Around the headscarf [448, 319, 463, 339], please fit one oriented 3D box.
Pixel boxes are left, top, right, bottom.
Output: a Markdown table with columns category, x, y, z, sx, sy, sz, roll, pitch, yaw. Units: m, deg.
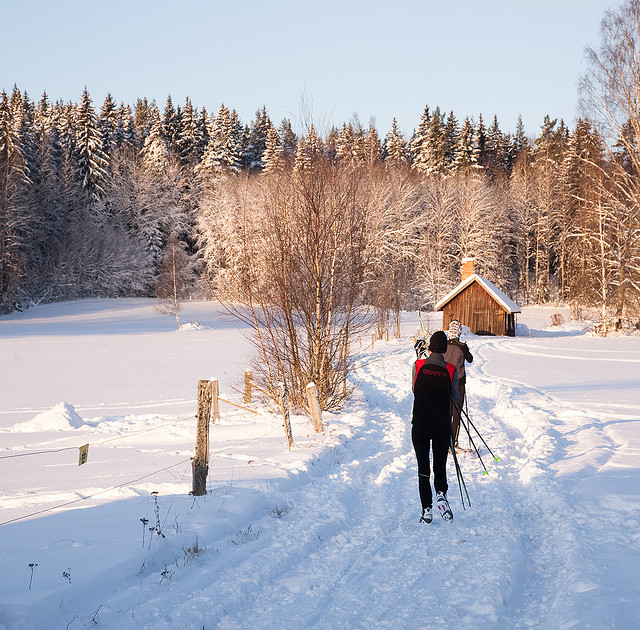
| category | x | y | z | sx | sy | sz | roll | pitch | yaw |
| --- | --- | --- | --- | --- | --- | --- | --- | --- | --- |
| headscarf | 2.325 | 0.249 | 13.706 | 0.204 | 0.353 | 0.318 | 5 | 3 | 23 |

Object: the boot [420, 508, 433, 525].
| category | x | y | z | sx | sy | sz | roll | pitch | yaw |
| --- | --- | --- | --- | --- | --- | --- | --- | --- | --- |
| boot | 1.448 | 2.738 | 10.674 | 0.172 | 0.216 | 0.273 | -1 | 3 | 8 |

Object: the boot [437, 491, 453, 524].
| category | x | y | z | sx | sy | sz | roll | pitch | yaw |
| --- | --- | --- | --- | --- | --- | --- | --- | --- | --- |
| boot | 1.705 | 2.637 | 10.688 | 0.154 | 0.476 | 0.206 | -18 | 5 | 5 |

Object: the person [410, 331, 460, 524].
| category | x | y | z | sx | sy | sz | roll | pitch | yaw |
| --- | --- | --- | --- | --- | --- | --- | --- | --- | --- |
| person | 1.577 | 1.533 | 10.772 | 0.631 | 2.587 | 0.585 | -1 | 2 | 3 |
